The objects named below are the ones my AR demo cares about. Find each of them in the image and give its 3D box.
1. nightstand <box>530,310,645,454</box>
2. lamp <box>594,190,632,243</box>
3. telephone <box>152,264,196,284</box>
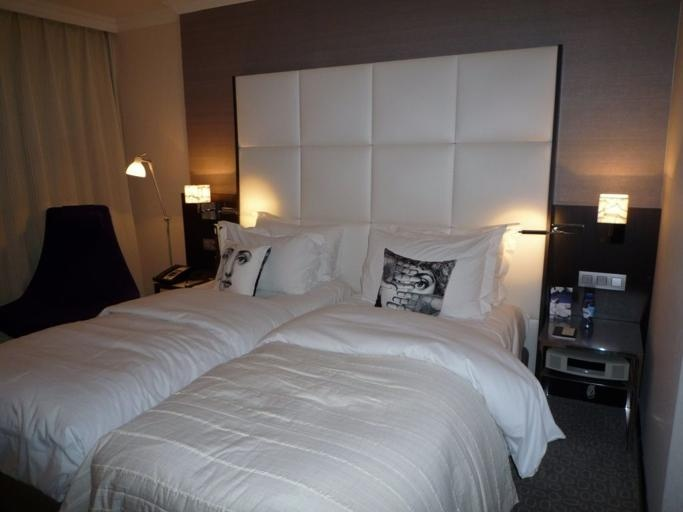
[{"bbox_3d":[1.633,0.803,3.314,0.601,0.684,0.706,2,8,25],"label":"nightstand"},{"bbox_3d":[1.717,-0.287,3.160,0.244,0.384,0.363,6,11,30],"label":"lamp"},{"bbox_3d":[-1.480,0.168,4.345,0.169,0.099,0.241,4,18,3],"label":"telephone"}]
